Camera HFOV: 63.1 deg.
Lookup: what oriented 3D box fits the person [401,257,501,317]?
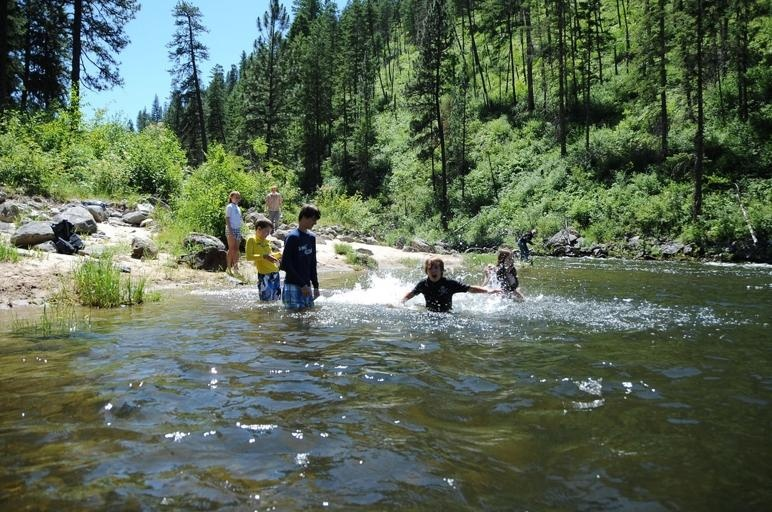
[{"bbox_3d":[1.500,0.787,17.355,2.112,1.508,0.580,-2,2,0],"label":"person"}]

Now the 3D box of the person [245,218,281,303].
[{"bbox_3d":[-3.643,0.087,18.714,0.968,2.491,0.922,-3,2,-11],"label":"person"}]
